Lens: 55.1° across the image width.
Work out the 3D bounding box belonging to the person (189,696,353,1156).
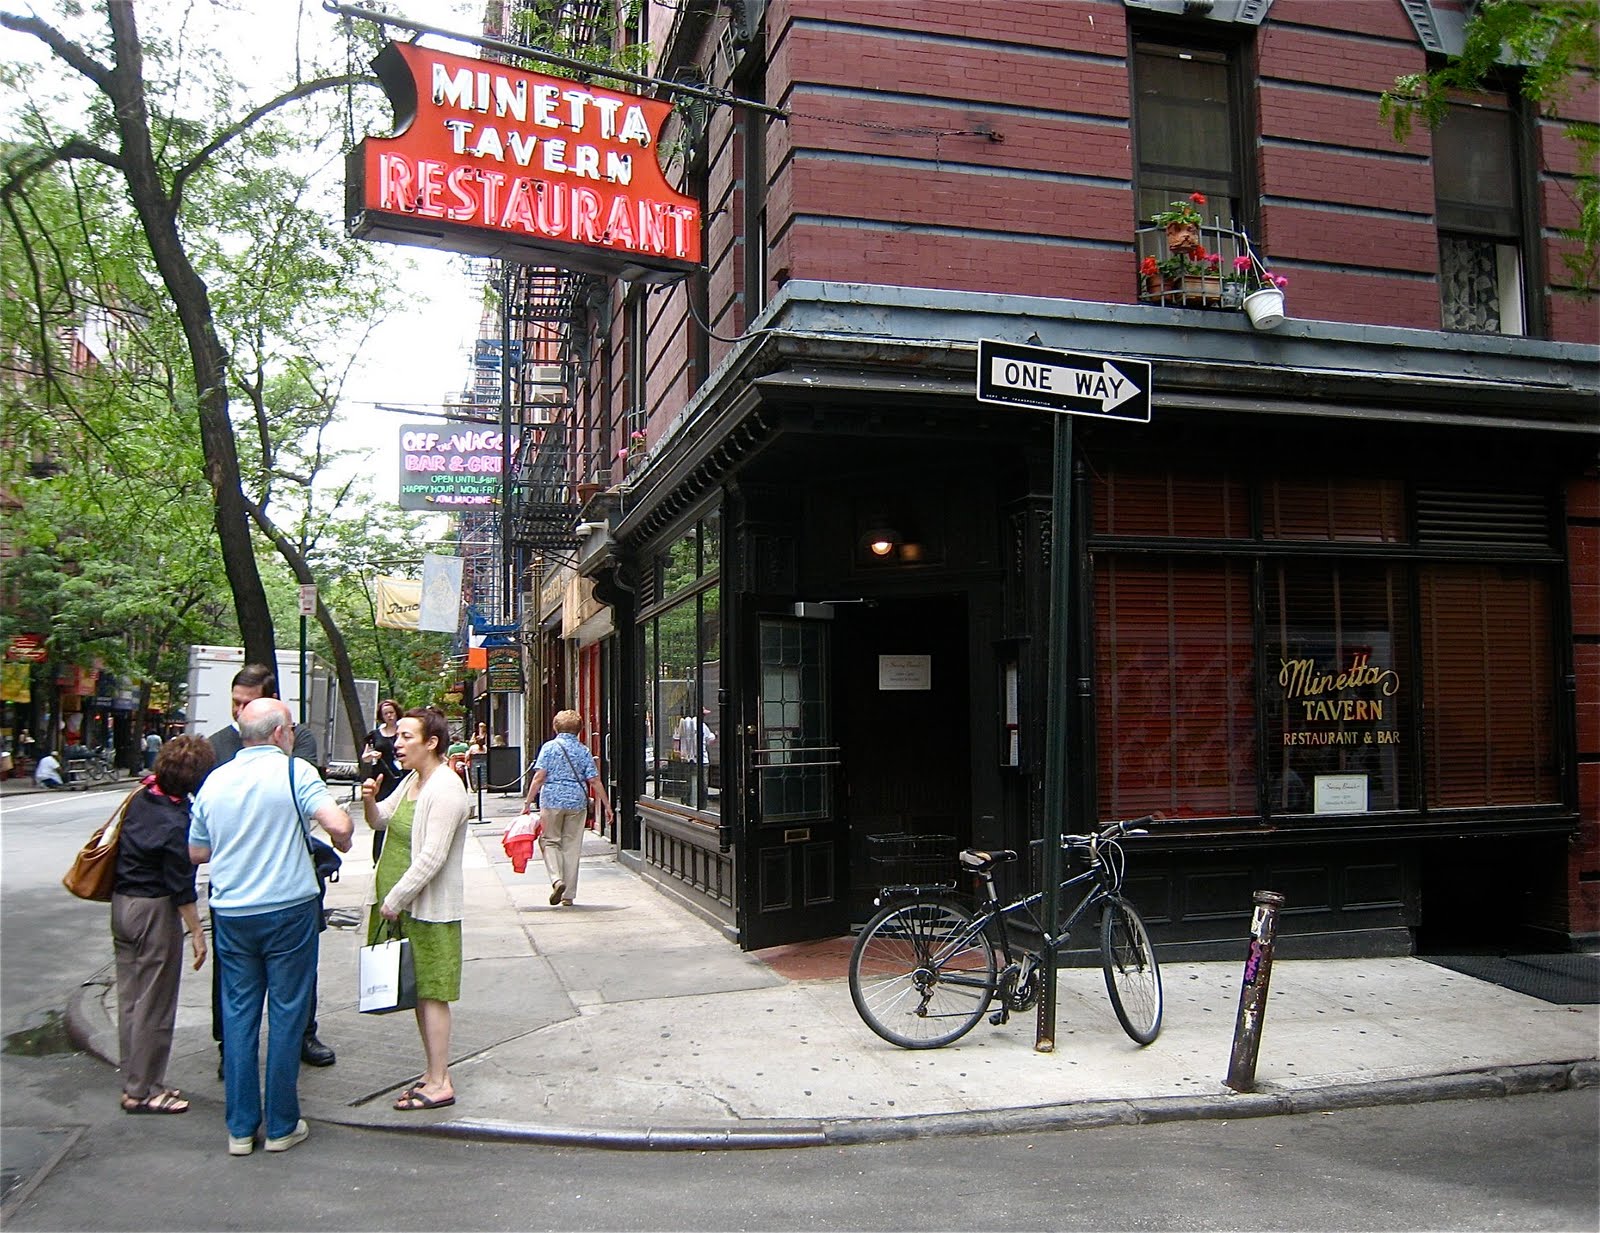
[{"bbox_3d":[-3.177,1.804,9.124,0.801,2.590,0.621,-1,2,-24],"label":"person"}]

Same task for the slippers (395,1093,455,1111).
[{"bbox_3d":[-2.312,2.990,9.431,0.265,0.073,0.132,5,-7,-3],"label":"slippers"}]

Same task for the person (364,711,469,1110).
[{"bbox_3d":[-2.388,1.806,9.435,0.558,2.428,0.497,0,2,11],"label":"person"}]

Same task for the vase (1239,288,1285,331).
[{"bbox_3d":[4.023,-2.639,13.186,0.355,0.353,0.228,0,2,2],"label":"vase"}]

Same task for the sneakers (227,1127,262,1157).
[{"bbox_3d":[-3.250,3.050,8.900,0.077,0.090,0.210,2,2,-2],"label":"sneakers"}]

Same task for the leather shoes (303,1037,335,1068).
[{"bbox_3d":[-3.284,2.952,10.398,0.118,0.126,0.290,3,-3,-37],"label":"leather shoes"}]

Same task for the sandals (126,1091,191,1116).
[{"bbox_3d":[-4.023,3.032,9.541,0.311,0.137,0.149,0,-1,-12],"label":"sandals"}]

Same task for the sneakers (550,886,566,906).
[{"bbox_3d":[-2.577,2.960,16.206,0.136,0.232,0.157,-1,2,-7],"label":"sneakers"}]

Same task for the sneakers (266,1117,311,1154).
[{"bbox_3d":[-3.025,3.052,9.025,0.099,0.114,0.251,5,6,21],"label":"sneakers"}]

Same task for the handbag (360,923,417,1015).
[{"bbox_3d":[-2.493,2.152,9.226,0.325,0.431,0.313,-1,2,-10],"label":"handbag"}]

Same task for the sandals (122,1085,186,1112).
[{"bbox_3d":[-4.025,3.021,9.542,0.302,0.127,0.166,0,0,-13],"label":"sandals"}]
